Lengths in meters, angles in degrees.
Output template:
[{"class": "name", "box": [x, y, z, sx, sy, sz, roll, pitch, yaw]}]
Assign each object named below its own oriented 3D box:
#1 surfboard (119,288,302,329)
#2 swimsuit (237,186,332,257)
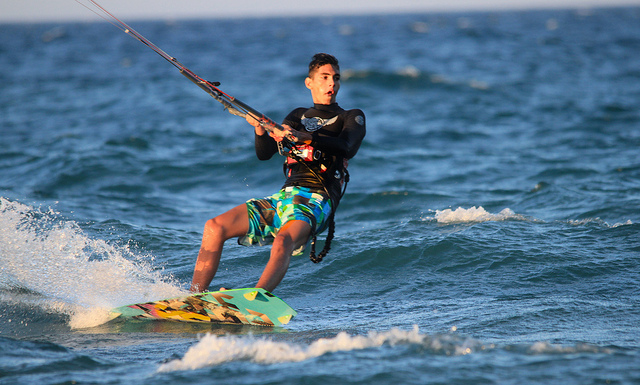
[{"class": "surfboard", "box": [-1.856, 2.248, 19.052, 4.100, 0.857, 0.402, -3, 44, 6]}, {"class": "swimsuit", "box": [-0.622, 0.496, 19.576, 1.960, 1.479, 0.587, 16, -42, 7]}]
